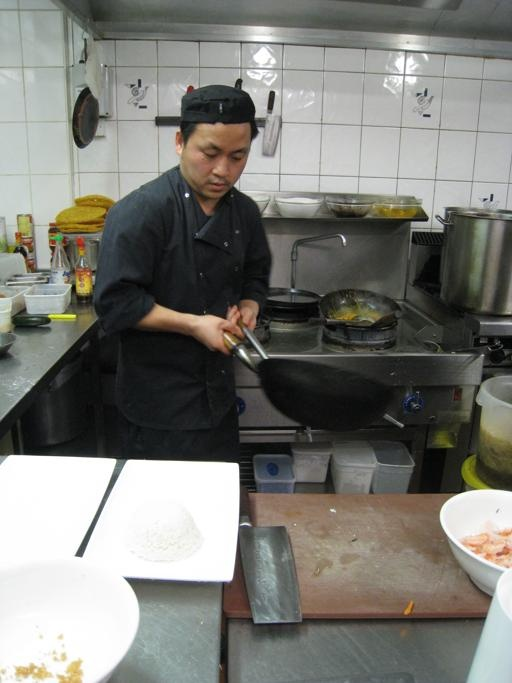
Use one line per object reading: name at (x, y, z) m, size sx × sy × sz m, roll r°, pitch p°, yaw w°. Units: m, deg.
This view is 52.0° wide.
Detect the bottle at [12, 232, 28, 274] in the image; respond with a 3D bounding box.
bottle at (-1.029, -0.401, 2.303) m, size 0.055 × 0.153 × 0.120 m, roll -6°, pitch 17°, yaw -23°

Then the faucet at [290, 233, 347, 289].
faucet at (0.281, -0.368, 2.435) m, size 0.257 × 0.266 × 0.217 m, roll 4°, pitch 16°, yaw 8°

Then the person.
person at (-0.188, -0.109, 1.411) m, size 0.431 × 1.028 × 0.508 m, roll 1°, pitch 16°, yaw 1°

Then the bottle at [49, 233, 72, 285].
bottle at (-0.808, -0.343, 2.163) m, size 0.079 × 0.187 × 0.319 m, roll -4°, pitch 17°, yaw -19°

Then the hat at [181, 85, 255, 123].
hat at (-0.091, -0.512, 1.150) m, size 0.117 × 0.057 × 0.118 m, roll 24°, pitch 41°, yaw 34°

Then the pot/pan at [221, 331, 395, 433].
pot/pan at (0.088, 0.076, 0.793) m, size 0.086 × 0.080 × 0.237 m, roll -10°, pitch 19°, yaw -34°

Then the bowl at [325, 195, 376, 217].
bowl at (0.413, -0.607, 2.360) m, size 0.213 × 0.095 × 0.284 m, roll 3°, pitch 16°, yaw 6°

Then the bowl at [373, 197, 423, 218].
bowl at (0.613, -0.610, 2.385) m, size 0.243 × 0.098 × 0.236 m, roll 1°, pitch 16°, yaw 0°
